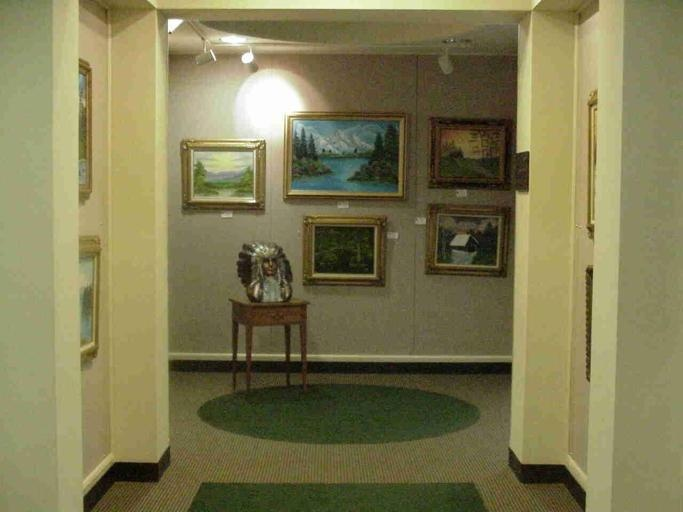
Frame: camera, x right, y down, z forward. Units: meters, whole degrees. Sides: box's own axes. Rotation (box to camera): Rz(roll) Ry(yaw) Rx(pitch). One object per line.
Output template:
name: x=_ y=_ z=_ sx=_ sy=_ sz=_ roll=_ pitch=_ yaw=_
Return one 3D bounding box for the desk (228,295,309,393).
desk: x=-0.786 y=0.916 z=6.379 sx=0.850 sy=0.935 sz=0.939 roll=1 pitch=2 yaw=6

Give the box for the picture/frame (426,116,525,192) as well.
picture/frame: x=1.527 y=-1.205 z=6.674 sx=1.092 sy=0.942 sz=0.058 roll=0 pitch=1 yaw=0

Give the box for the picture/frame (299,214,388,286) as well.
picture/frame: x=0.017 y=-0.102 z=6.980 sx=0.787 sy=0.707 sz=0.067 roll=0 pitch=1 yaw=2

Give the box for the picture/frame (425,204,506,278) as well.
picture/frame: x=1.456 y=-0.202 z=6.991 sx=0.796 sy=0.750 sz=0.068 roll=2 pitch=3 yaw=1

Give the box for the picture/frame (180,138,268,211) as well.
picture/frame: x=-1.391 y=-1.002 z=6.930 sx=0.791 sy=0.678 sz=0.063 roll=0 pitch=2 yaw=-1
